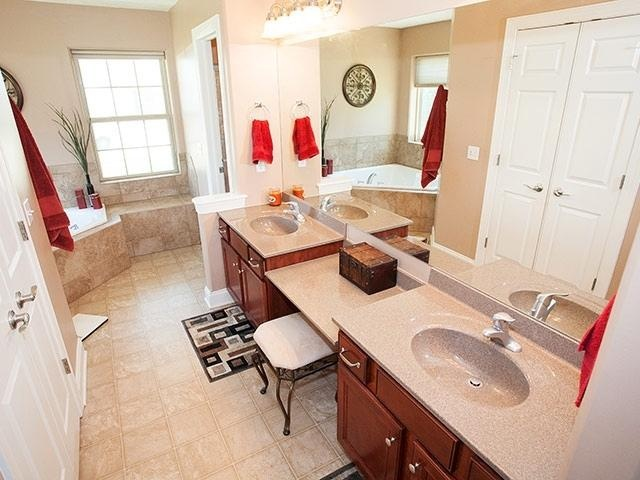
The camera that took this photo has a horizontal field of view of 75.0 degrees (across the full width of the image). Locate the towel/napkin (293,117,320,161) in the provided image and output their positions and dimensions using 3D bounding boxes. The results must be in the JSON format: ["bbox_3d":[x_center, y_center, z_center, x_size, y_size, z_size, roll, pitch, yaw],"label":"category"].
[{"bbox_3d":[-0.122,-0.843,3.539,0.231,0.324,0.103,-12,12,8],"label":"towel/napkin"}]

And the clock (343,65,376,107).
[{"bbox_3d":[0.239,-0.946,2.544,0.051,0.250,0.244,0,-13,-20],"label":"clock"}]

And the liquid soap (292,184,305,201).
[{"bbox_3d":[-0.198,-0.404,3.572,0.103,0.119,0.105,13,23,39],"label":"liquid soap"}]

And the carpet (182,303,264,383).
[{"bbox_3d":[-0.756,0.825,3.299,0.410,0.011,0.612,-12,30,-25],"label":"carpet"}]

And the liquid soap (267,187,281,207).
[{"bbox_3d":[-0.378,-0.381,3.634,0.129,0.146,0.127,-21,30,-37],"label":"liquid soap"}]

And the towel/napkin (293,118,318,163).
[{"bbox_3d":[-0.125,-0.841,3.555,0.222,0.313,0.100,-13,10,7],"label":"towel/napkin"}]

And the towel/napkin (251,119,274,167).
[{"bbox_3d":[-0.467,-0.792,3.369,0.173,0.332,0.101,-5,10,-14],"label":"towel/napkin"}]

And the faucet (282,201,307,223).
[{"bbox_3d":[-0.203,-0.208,3.363,0.145,0.099,0.206,-13,38,-31],"label":"faucet"}]

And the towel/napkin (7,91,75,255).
[{"bbox_3d":[-1.818,-0.375,2.750,0.147,1.067,0.253,-16,24,-30],"label":"towel/napkin"}]
